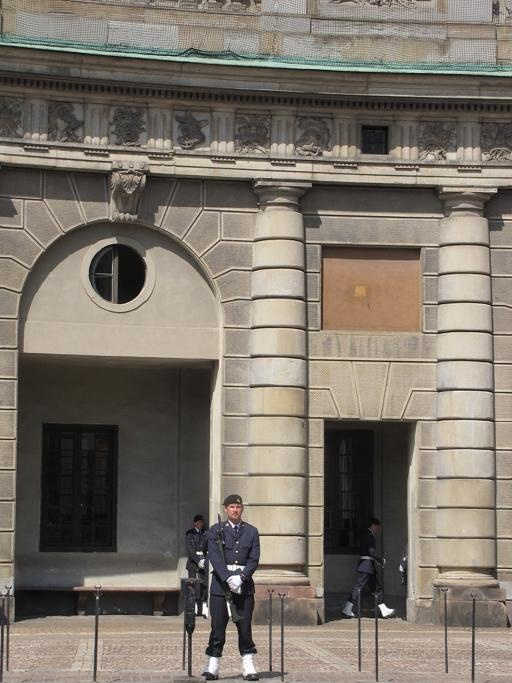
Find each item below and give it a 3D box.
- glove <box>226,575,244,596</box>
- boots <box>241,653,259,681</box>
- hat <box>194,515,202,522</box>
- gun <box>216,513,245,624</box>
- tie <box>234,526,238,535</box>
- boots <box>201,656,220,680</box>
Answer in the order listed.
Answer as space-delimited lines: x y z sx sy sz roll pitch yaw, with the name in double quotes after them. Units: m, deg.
-0.293 3.259 25.665 0.191 0.227 0.089 -35 11 -22 "glove"
-0.079 4.355 25.589 0.213 0.348 0.379 2 0 -2 "boots"
-1.054 3.184 34.271 0.138 0.081 0.206 -1 -5 3 "hat"
-0.356 3.120 25.844 0.096 1.460 0.411 -6 -11 -12 "gun"
-0.272 2.582 26.101 0.057 0.115 0.025 0 -7 -7 "tie"
-0.616 4.367 25.672 0.228 0.307 0.457 2 0 -2 "boots"
